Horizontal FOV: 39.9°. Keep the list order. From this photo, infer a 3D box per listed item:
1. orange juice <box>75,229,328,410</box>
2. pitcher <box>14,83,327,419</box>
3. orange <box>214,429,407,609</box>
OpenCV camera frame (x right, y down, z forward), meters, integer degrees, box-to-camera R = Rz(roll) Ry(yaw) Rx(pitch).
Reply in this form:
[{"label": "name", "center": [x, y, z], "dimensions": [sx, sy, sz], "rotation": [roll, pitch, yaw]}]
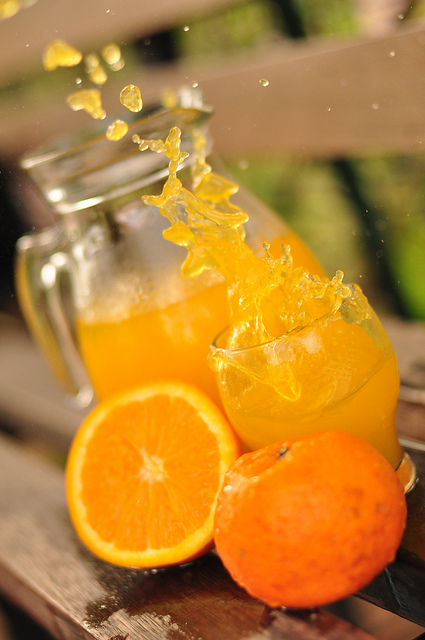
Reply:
[{"label": "orange juice", "center": [-0.012, 0.000, 0.559], "dimensions": [0.178, 0.163, 0.144], "rotation": [-6, 20, 5]}, {"label": "pitcher", "center": [-0.071, -0.040, 0.604], "dimensions": [0.201, 0.343, 0.221], "rotation": [-4, 18, 40]}, {"label": "orange", "center": [0.043, 0.110, 0.366], "dimensions": [0.104, 0.072, 0.102], "rotation": [-18, 7, 43]}]
